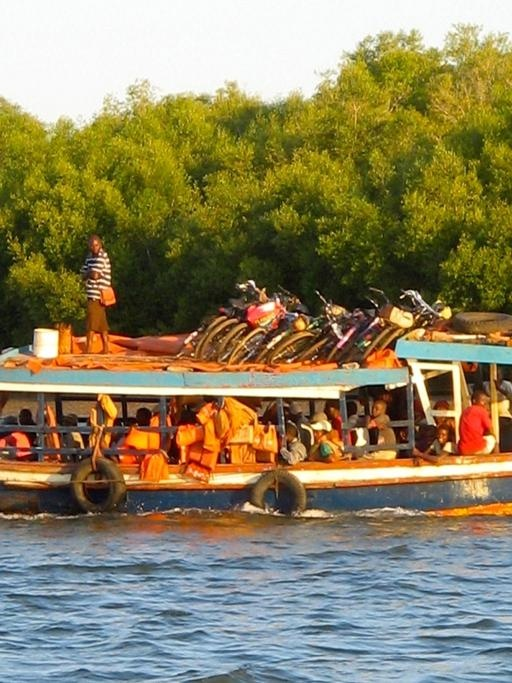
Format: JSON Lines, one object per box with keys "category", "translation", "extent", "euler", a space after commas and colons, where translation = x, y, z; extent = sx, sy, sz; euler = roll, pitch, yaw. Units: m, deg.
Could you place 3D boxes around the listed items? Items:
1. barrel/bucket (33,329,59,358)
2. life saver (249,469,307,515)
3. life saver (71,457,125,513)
{"category": "barrel/bucket", "translation": [-3.068, 0.001, 24.970], "extent": [0.392, 0.442, 0.393], "euler": [1, 3, 0]}
{"category": "life saver", "translation": [0.305, 2.049, 23.934], "extent": [0.845, 0.624, 0.818], "euler": [-8, 11, -38]}
{"category": "life saver", "translation": [-2.172, 1.957, 23.592], "extent": [0.758, 0.784, 0.194], "euler": [-1, 10, -6]}
